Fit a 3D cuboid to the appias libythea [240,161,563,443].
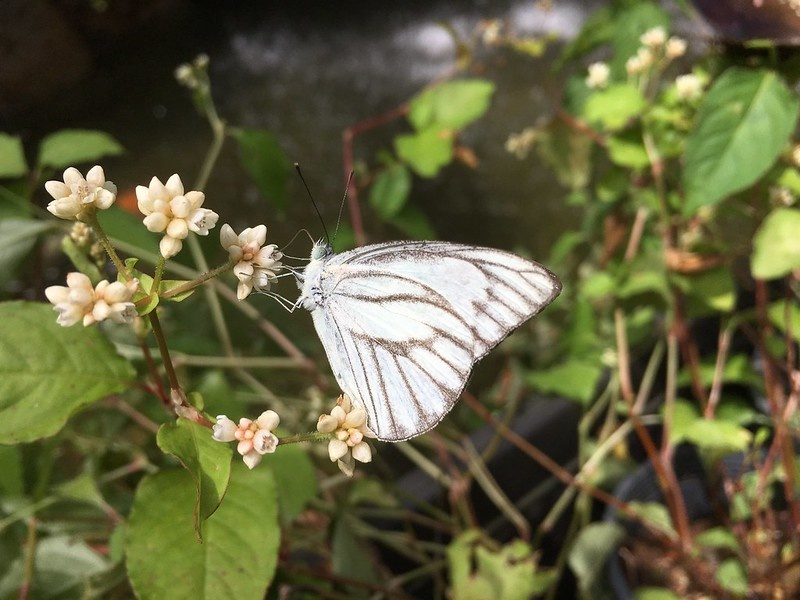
[{"bbox_3d":[-0.045,0.037,1.171,0.371,0.252,0.390,32,29,17],"label":"appias libythea"}]
